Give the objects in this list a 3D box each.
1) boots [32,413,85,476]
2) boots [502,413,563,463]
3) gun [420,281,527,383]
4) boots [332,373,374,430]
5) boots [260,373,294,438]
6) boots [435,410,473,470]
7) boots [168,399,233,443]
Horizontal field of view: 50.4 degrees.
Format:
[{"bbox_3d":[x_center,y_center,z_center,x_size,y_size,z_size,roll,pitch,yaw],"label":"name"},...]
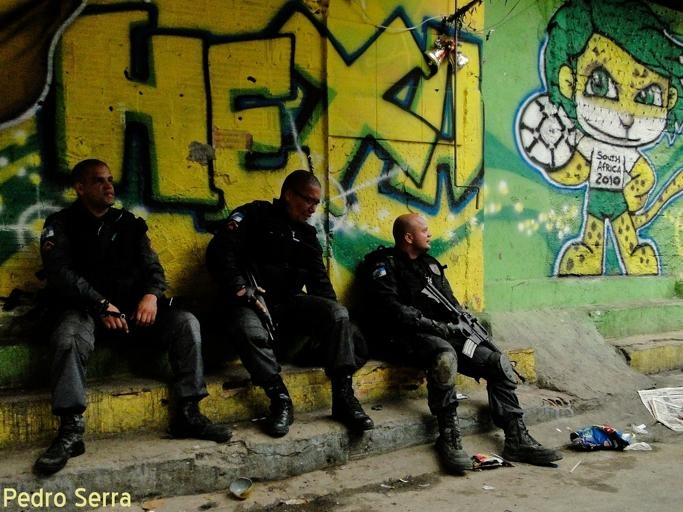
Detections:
[{"bbox_3d":[-2.005,1.320,5.163,0.158,0.321,0.466,3,6,15],"label":"boots"},{"bbox_3d":[1.549,1.579,6.224,0.636,0.453,0.224,0,-2,26],"label":"boots"},{"bbox_3d":[1.200,0.731,6.745,0.422,1.187,0.128,-44,-6,-27],"label":"gun"},{"bbox_3d":[0.088,1.178,5.966,0.193,0.418,0.584,-4,9,-30],"label":"boots"},{"bbox_3d":[-0.492,1.209,5.786,0.207,0.445,0.457,-3,4,2],"label":"boots"},{"bbox_3d":[0.901,1.515,5.900,0.180,0.489,0.273,-1,-7,-17],"label":"boots"},{"bbox_3d":[-0.998,1.279,5.587,0.641,0.391,0.218,0,-1,4],"label":"boots"}]
